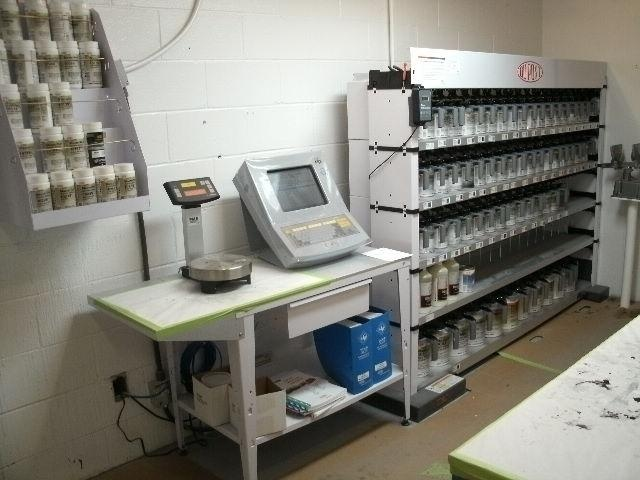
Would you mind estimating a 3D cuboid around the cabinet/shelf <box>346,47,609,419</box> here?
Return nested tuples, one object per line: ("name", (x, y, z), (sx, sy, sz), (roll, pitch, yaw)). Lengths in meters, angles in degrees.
("cabinet/shelf", (1.097, -0.068, 3.552), (0.891, 2.183, 2.570), (7, 15, 37))

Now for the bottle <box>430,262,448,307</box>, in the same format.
("bottle", (0.854, 0.323, 3.516), (0.103, 0.281, 0.106), (-2, 15, 1))

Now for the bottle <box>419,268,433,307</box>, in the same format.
("bottle", (0.733, 0.344, 3.417), (0.070, 0.254, 0.128), (7, 17, 32))

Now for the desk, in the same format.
("desk", (-0.262, 0.738, 2.834), (1.644, 1.132, 0.699), (-14, 19, -36))
